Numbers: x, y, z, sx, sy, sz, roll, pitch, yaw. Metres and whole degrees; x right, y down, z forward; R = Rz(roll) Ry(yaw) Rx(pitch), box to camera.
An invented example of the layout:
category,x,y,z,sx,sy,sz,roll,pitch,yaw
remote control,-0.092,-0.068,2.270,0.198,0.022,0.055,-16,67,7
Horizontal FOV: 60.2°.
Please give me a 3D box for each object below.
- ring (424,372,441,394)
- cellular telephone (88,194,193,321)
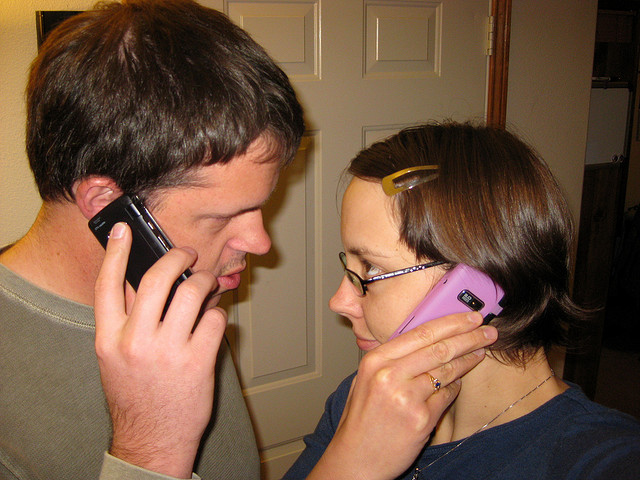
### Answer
category,x,y,z,sx,sy,sz,roll,pitch,yaw
ring,0.265,0.332,1.303,0.015,0.040,0.030,-33,-16,16
cellular telephone,-0.423,0.036,1.302,0.156,0.300,0.032,-33,8,26
